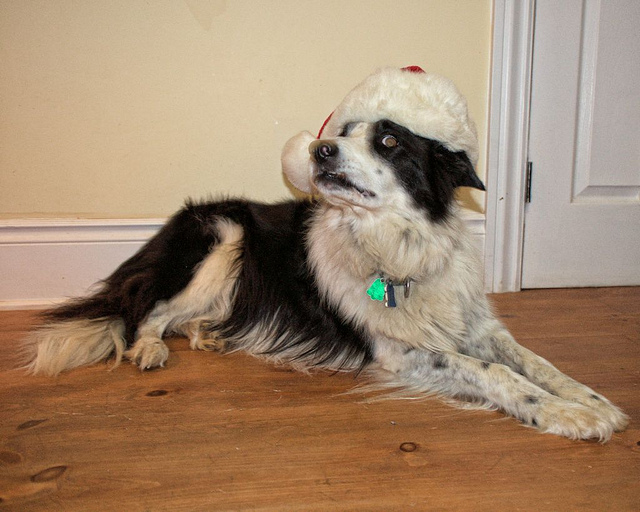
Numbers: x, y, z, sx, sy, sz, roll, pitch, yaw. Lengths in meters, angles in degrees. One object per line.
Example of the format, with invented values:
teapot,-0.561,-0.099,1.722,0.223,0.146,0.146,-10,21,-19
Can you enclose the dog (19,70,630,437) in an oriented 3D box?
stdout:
dog,-0.049,-0.108,3.547,3.909,1.407,1.386,2,9,26

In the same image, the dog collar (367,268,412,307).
dog collar,0.314,0.145,3.095,0.213,0.171,0.091,-5,0,5
